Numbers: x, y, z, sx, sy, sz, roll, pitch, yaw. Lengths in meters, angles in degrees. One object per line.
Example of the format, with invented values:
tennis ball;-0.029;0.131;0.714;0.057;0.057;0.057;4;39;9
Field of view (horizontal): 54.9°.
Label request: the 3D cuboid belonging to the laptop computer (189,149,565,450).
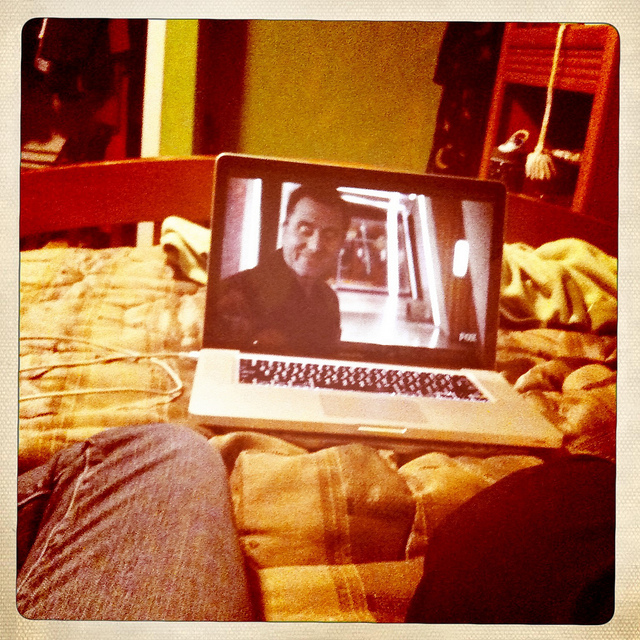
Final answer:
laptop computer;0.082;-0.028;0.834;0.492;0.281;0.283;5;21;-12
